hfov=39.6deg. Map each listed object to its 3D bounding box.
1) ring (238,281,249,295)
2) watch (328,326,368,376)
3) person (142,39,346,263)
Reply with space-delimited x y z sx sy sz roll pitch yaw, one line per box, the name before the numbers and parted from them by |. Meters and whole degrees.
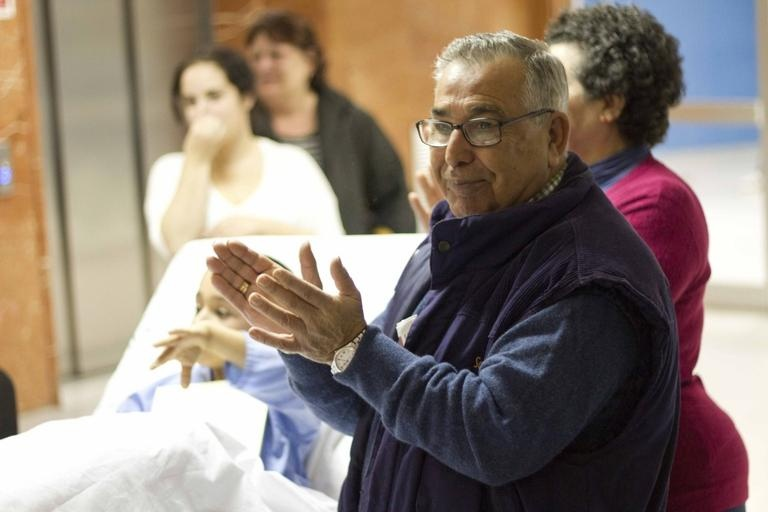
ring | -0.337 0.075 2.578 0.023 0.025 0.025 17 37 -13
watch | -0.100 0.213 2.485 0.061 0.120 0.109 8 22 -21
person | -0.437 -0.200 3.292 0.554 0.873 0.446 -9 -3 3
